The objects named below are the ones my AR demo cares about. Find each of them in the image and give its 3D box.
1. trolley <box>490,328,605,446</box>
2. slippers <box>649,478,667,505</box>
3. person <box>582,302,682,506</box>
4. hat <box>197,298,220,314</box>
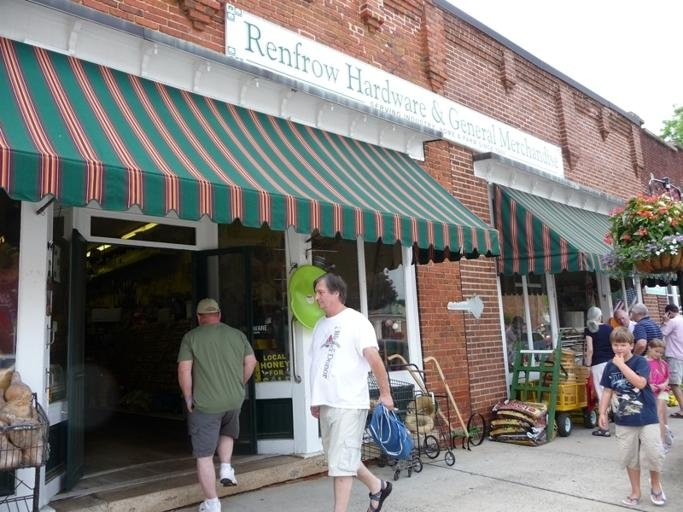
[{"bbox_3d":[3.572,2.355,11.549,1.321,1.811,2.378,-2,-1,40],"label":"trolley"},{"bbox_3d":[3.800,2.887,7.598,0.145,0.404,0.097,-14,-50,24],"label":"slippers"},{"bbox_3d":[3.600,1.921,7.804,0.765,2.093,0.723,1,1,28],"label":"person"},{"bbox_3d":[-1.692,0.621,7.953,0.177,0.148,0.241,-1,-1,-16],"label":"hat"}]
